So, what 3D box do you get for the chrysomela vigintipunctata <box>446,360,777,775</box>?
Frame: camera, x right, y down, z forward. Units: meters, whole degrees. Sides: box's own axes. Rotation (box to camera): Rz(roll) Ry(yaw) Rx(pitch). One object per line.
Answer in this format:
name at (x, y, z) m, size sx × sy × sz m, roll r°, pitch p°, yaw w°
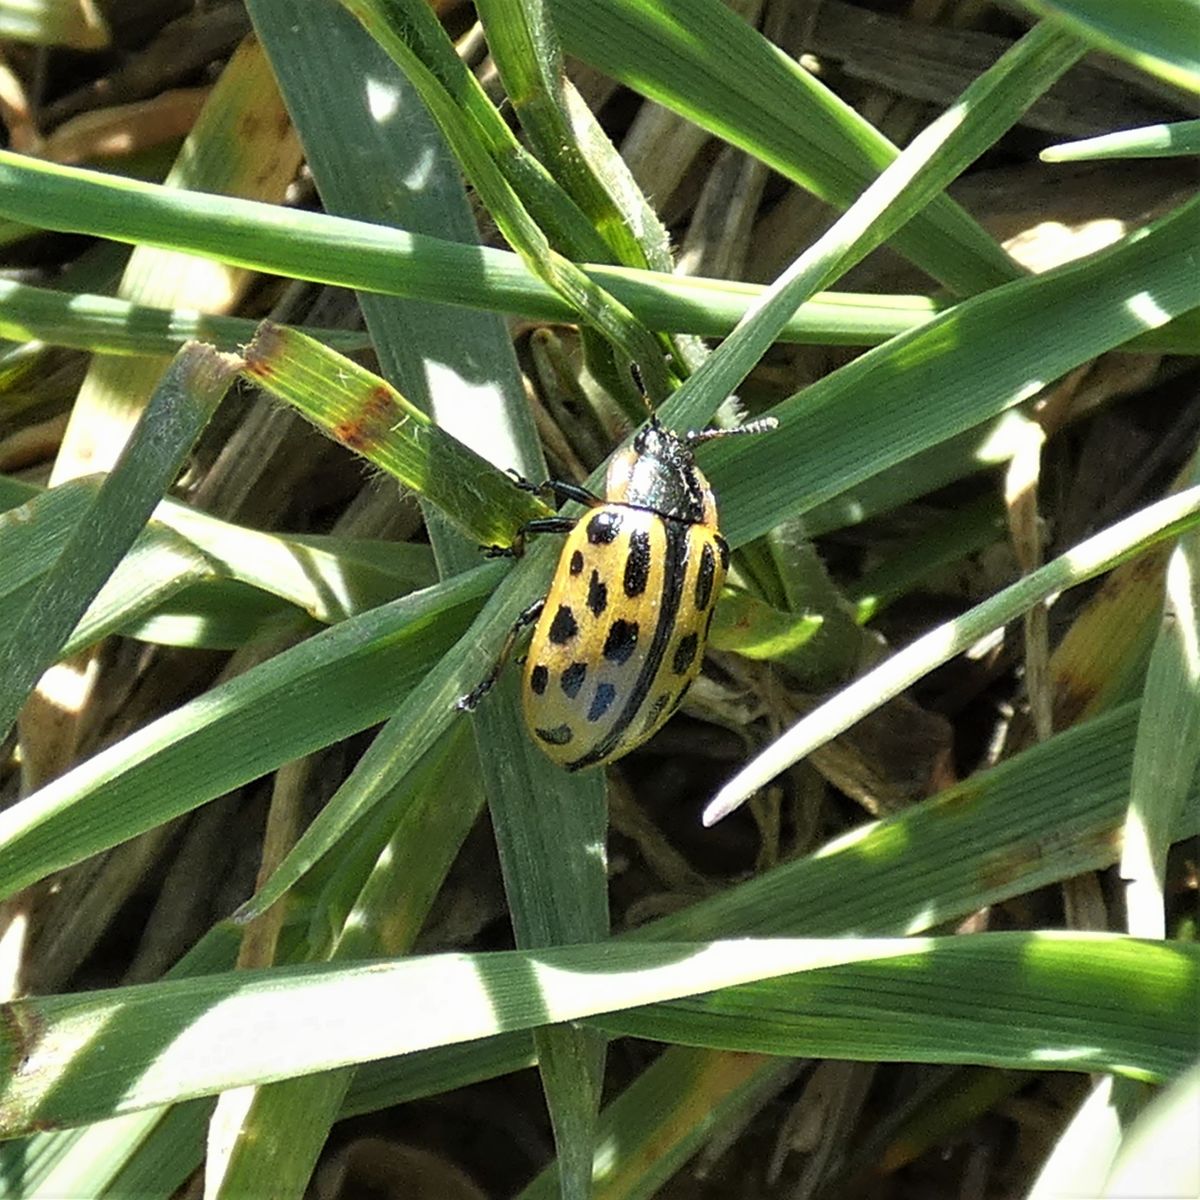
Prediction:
chrysomela vigintipunctata at (0.005, -0.046, 1.263) m, size 0.116 × 0.327 × 0.249 m, roll 10°, pitch -14°, yaw 42°
